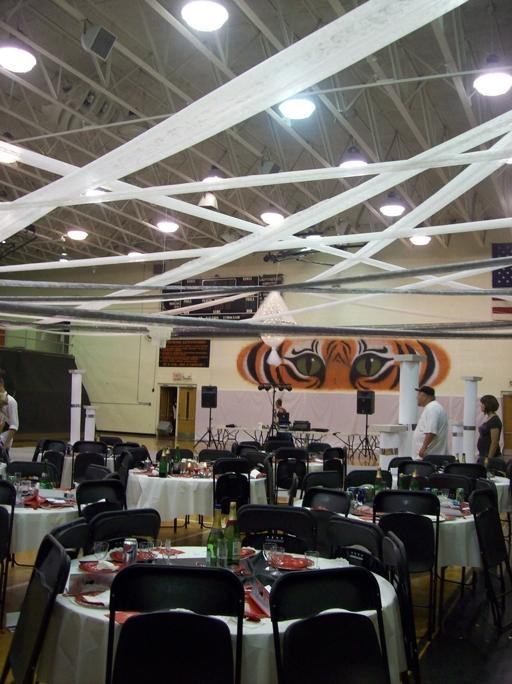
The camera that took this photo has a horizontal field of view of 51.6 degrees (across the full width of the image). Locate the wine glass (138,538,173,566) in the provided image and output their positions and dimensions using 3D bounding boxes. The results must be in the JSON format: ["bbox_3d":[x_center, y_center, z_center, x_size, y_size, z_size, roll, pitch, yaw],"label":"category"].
[{"bbox_3d":[-0.485,1.014,2.562,0.123,0.040,0.179,1,1,0],"label":"wine glass"}]

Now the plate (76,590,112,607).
[{"bbox_3d":[-0.579,0.932,1.920,0.131,0.021,0.133,3,2,-23],"label":"plate"}]

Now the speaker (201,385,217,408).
[{"bbox_3d":[-1.341,1.562,15.224,0.381,0.587,0.326,5,-12,-16],"label":"speaker"}]

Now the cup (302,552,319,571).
[{"bbox_3d":[0.258,0.985,2.396,0.072,0.071,0.069,-1,-4,0],"label":"cup"}]

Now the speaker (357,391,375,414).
[{"bbox_3d":[2.594,1.414,12.565,0.370,0.532,0.395,0,-12,7],"label":"speaker"}]

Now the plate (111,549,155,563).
[{"bbox_3d":[-0.571,0.988,2.446,0.120,0.025,0.116,0,-5,0],"label":"plate"}]
